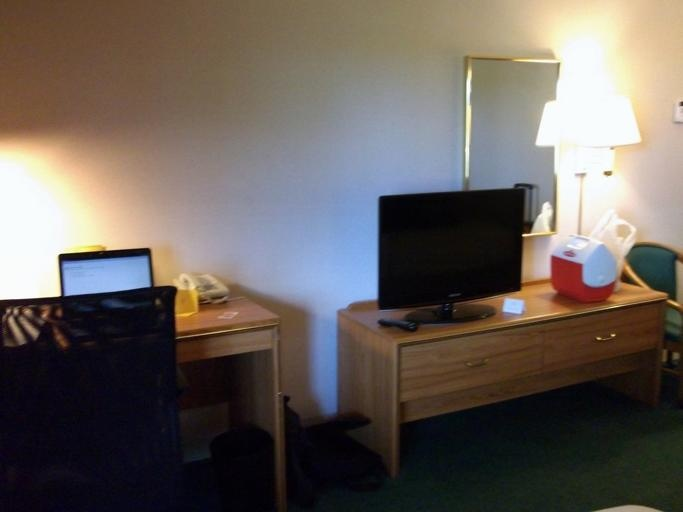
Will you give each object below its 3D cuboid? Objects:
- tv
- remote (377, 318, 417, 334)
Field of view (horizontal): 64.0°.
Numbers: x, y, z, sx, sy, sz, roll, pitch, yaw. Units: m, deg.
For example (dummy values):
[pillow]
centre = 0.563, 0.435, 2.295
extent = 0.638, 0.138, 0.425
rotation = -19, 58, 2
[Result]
[tv]
centre = 0.585, 0.011, 2.957
extent = 0.699, 0.541, 0.193
rotation = -5, 8, -21
[remote]
centre = 0.304, 0.346, 2.829
extent = 0.223, 0.039, 0.124
rotation = 10, 19, 36
